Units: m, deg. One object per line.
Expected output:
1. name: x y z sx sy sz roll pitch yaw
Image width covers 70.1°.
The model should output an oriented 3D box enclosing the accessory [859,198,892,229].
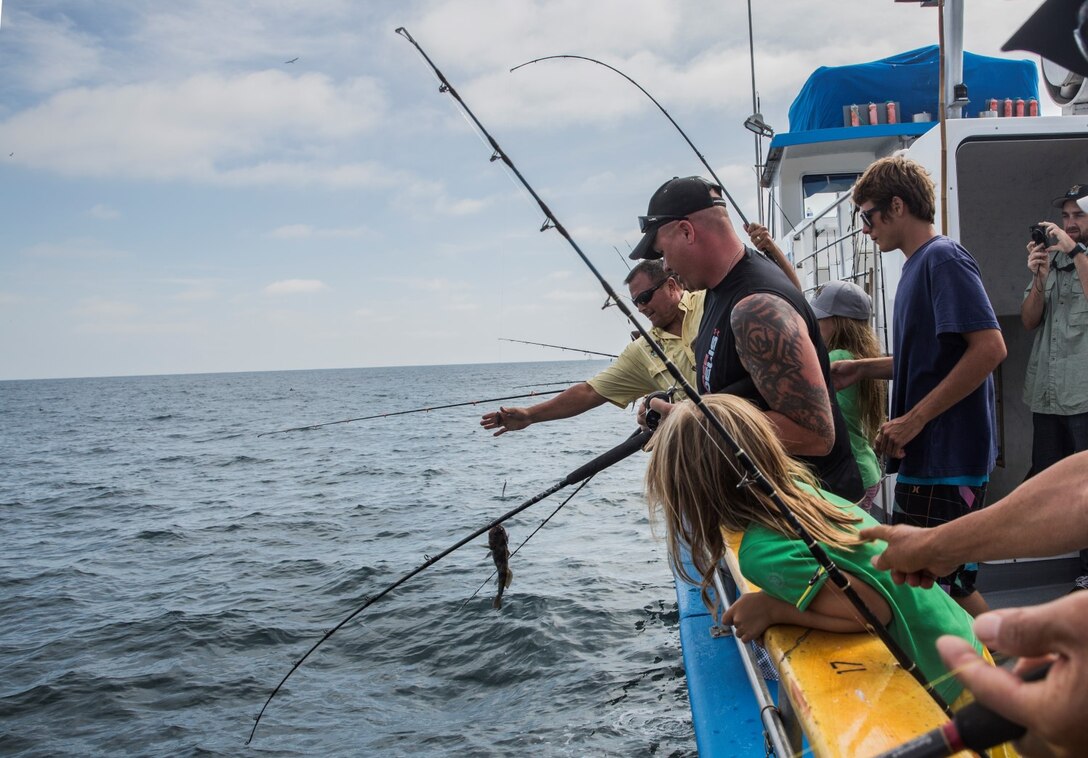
1. accessory: 1.628 -0.828 3.829 0.122 0.034 0.111 -23 -6 12

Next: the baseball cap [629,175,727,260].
1. baseball cap: 0.625 -0.765 3.597 0.346 0.254 0.490 -11 -11 -46

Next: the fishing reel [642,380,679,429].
1. fishing reel: 0.566 0.142 3.746 0.085 0.217 0.182 45 -41 -20

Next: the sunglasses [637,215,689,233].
1. sunglasses: 0.536 -0.712 3.510 0.193 0.055 0.155 -8 0 25

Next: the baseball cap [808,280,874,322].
1. baseball cap: 1.804 -0.474 4.820 0.495 0.233 0.340 2 11 23
